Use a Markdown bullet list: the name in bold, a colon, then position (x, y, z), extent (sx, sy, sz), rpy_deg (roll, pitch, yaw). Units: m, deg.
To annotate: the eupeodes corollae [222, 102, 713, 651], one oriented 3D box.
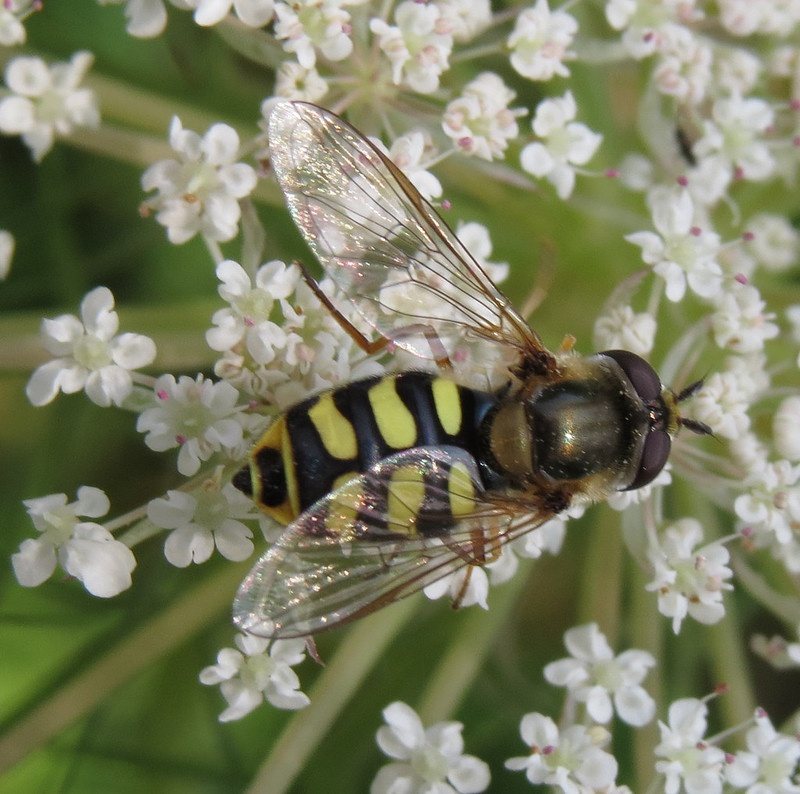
- **eupeodes corollae**: position (0.077, -0.013, 1.201), extent (0.463, 0.297, 0.569), rpy_deg (2, 60, 2)
